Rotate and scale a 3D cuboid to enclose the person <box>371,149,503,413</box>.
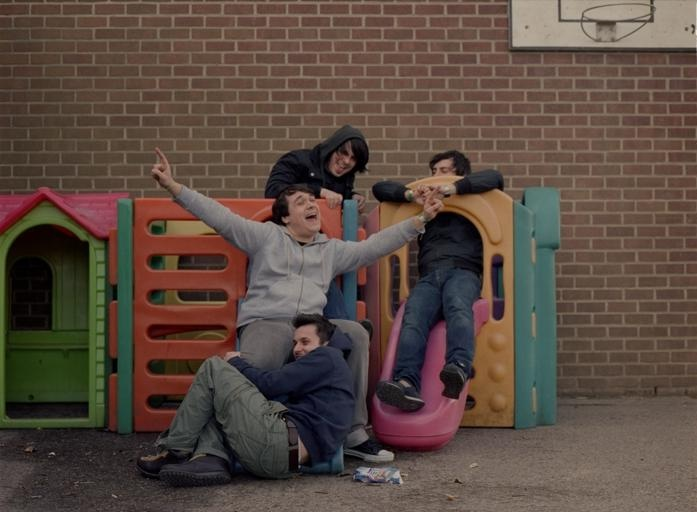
[{"bbox_3d":[0.596,0.070,9.901,1.018,2.112,0.871,2,-24,6],"label":"person"}]

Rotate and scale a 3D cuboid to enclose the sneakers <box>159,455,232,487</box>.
[{"bbox_3d":[-0.987,1.410,8.916,0.508,0.178,0.225,3,26,-7],"label":"sneakers"}]

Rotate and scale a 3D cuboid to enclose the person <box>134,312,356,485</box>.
[{"bbox_3d":[-0.659,0.999,9.343,1.547,1.171,0.818,0,-16,3],"label":"person"}]

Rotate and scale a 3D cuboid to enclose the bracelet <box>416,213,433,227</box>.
[{"bbox_3d":[0.543,-0.272,9.779,0.104,0.090,0.080,24,16,20],"label":"bracelet"}]

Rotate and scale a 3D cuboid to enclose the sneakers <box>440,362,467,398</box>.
[{"bbox_3d":[0.728,0.835,9.325,0.135,0.278,0.127,9,42,12],"label":"sneakers"}]

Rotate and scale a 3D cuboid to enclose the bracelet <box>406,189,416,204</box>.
[{"bbox_3d":[0.472,-0.460,10.024,0.071,0.075,0.060,2,-9,18],"label":"bracelet"}]

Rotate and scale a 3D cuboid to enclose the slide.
[{"bbox_3d":[0.551,0.656,9.862,0.675,1.496,0.473,6,-43,7],"label":"slide"}]

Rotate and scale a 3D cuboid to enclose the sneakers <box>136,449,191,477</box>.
[{"bbox_3d":[-1.264,1.380,9.072,0.421,0.189,0.163,4,2,-1],"label":"sneakers"}]

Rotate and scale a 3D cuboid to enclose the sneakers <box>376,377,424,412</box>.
[{"bbox_3d":[0.347,0.950,9.408,0.352,0.161,0.157,25,28,-5],"label":"sneakers"}]

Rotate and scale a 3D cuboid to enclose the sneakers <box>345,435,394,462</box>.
[{"bbox_3d":[0.149,1.338,9.382,0.365,0.135,0.143,0,-6,14],"label":"sneakers"}]

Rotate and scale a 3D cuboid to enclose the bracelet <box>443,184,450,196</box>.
[{"bbox_3d":[0.720,-0.488,9.893,0.051,0.054,0.064,0,-13,5],"label":"bracelet"}]
